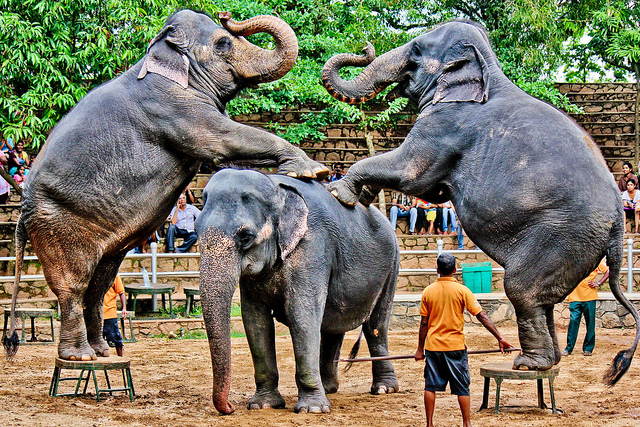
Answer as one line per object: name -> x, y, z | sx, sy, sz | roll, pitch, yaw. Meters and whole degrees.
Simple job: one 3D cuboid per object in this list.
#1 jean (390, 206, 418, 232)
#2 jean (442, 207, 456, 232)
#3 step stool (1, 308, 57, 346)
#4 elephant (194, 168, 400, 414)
jean -> 1.593, 0.124, 20.643 | 0.513, 0.372, 0.575 | 0, 10, 6
jean -> 2.469, 0.148, 20.649 | 0.360, 0.487, 0.175 | 0, -1, -5
step stool -> -4.347, 1.733, 16.390 | 0.793, 0.470, 0.734 | 1, -6, -9
elephant -> -0.274, 1.006, 13.039 | 1.688, 2.600, 3.593 | -7, -9, 34
